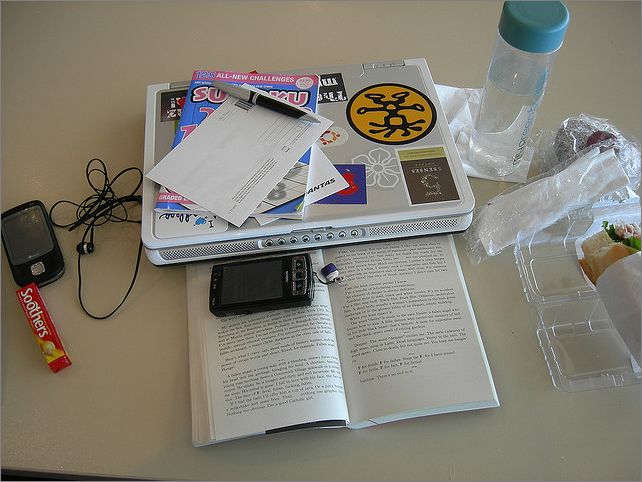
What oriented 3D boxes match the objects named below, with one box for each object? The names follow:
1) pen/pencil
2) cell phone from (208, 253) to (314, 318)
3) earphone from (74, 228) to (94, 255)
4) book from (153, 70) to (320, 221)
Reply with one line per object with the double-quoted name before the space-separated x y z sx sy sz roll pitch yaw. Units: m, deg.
"pen/pencil" -0.101 -0.253 0.996 0.156 0.022 0.024 24 90 12
"cell phone" -0.100 0.073 0.888 0.148 0.045 0.101 -7 68 0
"earphone" -0.429 0.003 0.967 0.023 0.018 0.047 -3 58 -3
"book" -0.129 -0.210 1.059 0.230 0.021 0.312 4 66 8
